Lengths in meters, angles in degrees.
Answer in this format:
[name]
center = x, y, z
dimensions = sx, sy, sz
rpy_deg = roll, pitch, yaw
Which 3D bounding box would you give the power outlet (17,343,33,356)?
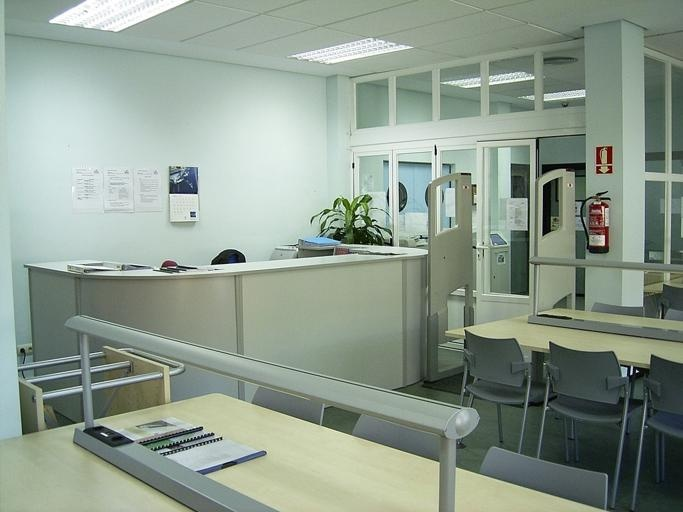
[power outlet]
center = -3.186, 0.945, 5.439
dimensions = 0.124, 0.129, 0.194
rpy_deg = -5, 9, -27

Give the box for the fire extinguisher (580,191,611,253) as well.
[fire extinguisher]
center = 2.584, -0.356, 5.550
dimensions = 0.201, 0.638, 0.294
rpy_deg = -7, 9, -33

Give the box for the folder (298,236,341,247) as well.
[folder]
center = -0.259, -0.167, 6.205
dimensions = 0.289, 0.085, 0.409
rpy_deg = -7, 10, -36
